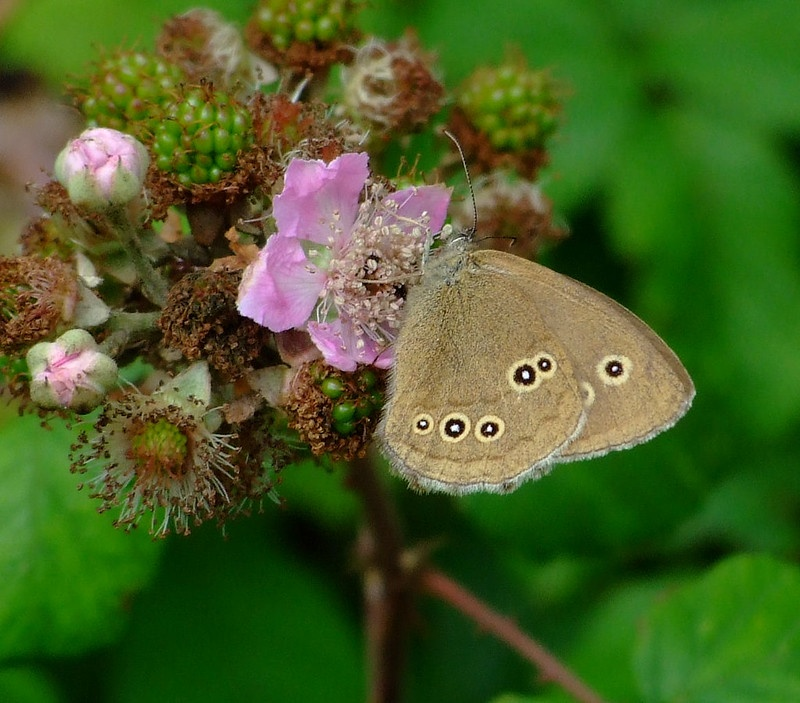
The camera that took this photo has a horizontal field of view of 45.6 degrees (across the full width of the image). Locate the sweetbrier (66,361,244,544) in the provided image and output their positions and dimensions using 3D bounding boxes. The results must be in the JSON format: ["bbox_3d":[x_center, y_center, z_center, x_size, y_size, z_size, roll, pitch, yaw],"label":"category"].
[{"bbox_3d":[-0.428,0.202,1.731,0.286,0.224,0.262,-17,69,1],"label":"sweetbrier"}]

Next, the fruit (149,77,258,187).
[{"bbox_3d":[-0.361,-0.382,1.695,0.167,0.058,0.171,25,75,15],"label":"fruit"}]

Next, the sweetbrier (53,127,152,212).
[{"bbox_3d":[-0.510,-0.313,1.642,0.151,0.081,0.132,-36,70,-6],"label":"sweetbrier"}]

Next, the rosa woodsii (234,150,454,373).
[{"bbox_3d":[-0.098,-0.183,1.728,0.248,0.264,0.418,17,73,13],"label":"rosa woodsii"}]
